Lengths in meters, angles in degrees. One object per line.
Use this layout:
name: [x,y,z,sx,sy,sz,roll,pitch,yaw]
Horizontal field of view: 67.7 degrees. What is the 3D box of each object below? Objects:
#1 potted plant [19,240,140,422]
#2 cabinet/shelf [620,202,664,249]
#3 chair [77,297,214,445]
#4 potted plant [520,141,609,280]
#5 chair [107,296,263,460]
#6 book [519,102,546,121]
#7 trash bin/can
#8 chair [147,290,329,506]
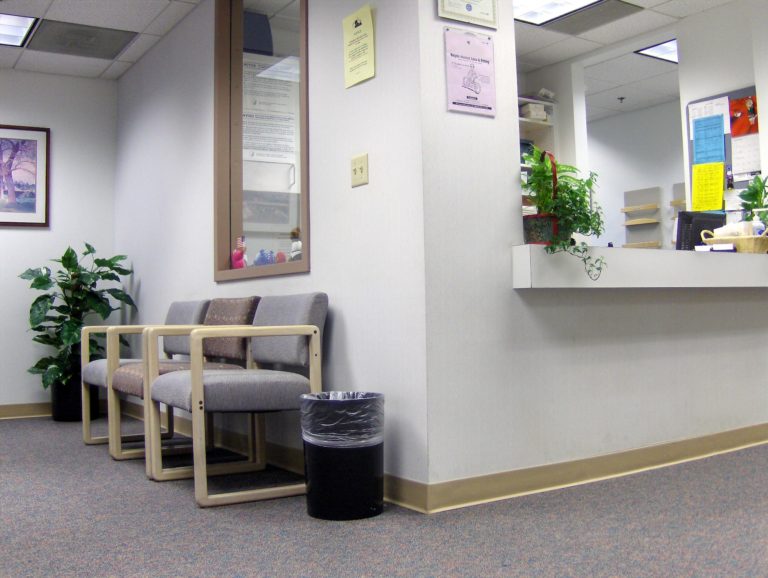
potted plant: [-2.712,0.282,5.039,0.804,1.383,0.985,-1,5,4]
cabinet/shelf: [3.008,-0.762,6.705,0.457,0.567,0.495,-3,-3,38]
chair: [-1.579,0.565,3.862,0.713,0.928,0.580,3,-7,-44]
potted plant: [0.811,-0.350,2.569,0.413,0.618,0.341,-1,-2,3]
chair: [-1.180,0.475,3.300,0.842,0.852,0.566,-1,-1,42]
book: [1.435,-1.692,5.453,0.192,0.124,0.190,-1,3,-28]
trash bin/can: [-0.196,0.677,2.524,0.420,0.498,0.424,0,1,39]
chair: [-0.726,0.499,2.818,0.835,0.928,0.885,-1,-3,-20]
